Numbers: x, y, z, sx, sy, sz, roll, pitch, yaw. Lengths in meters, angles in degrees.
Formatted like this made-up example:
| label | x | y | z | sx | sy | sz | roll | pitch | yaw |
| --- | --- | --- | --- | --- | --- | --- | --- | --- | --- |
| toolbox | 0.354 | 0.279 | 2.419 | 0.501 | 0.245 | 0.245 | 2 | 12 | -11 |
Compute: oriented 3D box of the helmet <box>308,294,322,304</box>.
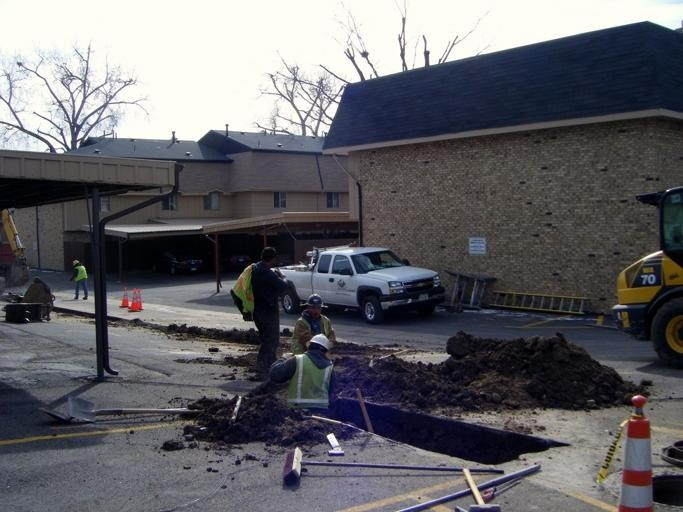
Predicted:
| label | x | y | z | sx | sy | sz | roll | pitch | yaw |
| --- | --- | --- | --- | --- | --- | --- | --- | --- | --- |
| helmet | -0.445 | 0.694 | 9.876 | 0.181 | 0.120 | 0.218 | 1 | 1 | -14 |

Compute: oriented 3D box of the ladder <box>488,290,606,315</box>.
| label | x | y | z | sx | sy | sz | roll | pitch | yaw |
| --- | --- | --- | --- | --- | --- | --- | --- | --- | --- |
| ladder | 6.199 | 1.471 | 19.297 | 3.328 | 0.635 | 0.549 | 5 | 10 | 42 |

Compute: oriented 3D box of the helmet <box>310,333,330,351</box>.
| label | x | y | z | sx | sy | sz | roll | pitch | yaw |
| --- | --- | --- | --- | --- | --- | --- | --- | --- | --- |
| helmet | -0.326 | 1.177 | 8.488 | 0.220 | 0.125 | 0.259 | 16 | 1 | -28 |

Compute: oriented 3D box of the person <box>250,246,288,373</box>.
| label | x | y | z | sx | sy | sz | roll | pitch | yaw |
| --- | --- | --- | --- | --- | --- | --- | --- | --- | --- |
| person | -1.387 | 0.945 | 10.870 | 0.657 | 2.069 | 0.734 | 3 | 7 | -22 |

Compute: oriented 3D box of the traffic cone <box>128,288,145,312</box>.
| label | x | y | z | sx | sy | sz | roll | pitch | yaw |
| --- | --- | --- | --- | --- | --- | --- | --- | --- | --- |
| traffic cone | -8.217 | 1.769 | 24.277 | 0.815 | 0.845 | 0.754 | -3 | 6 | -44 |

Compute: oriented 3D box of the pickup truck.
| label | x | y | z | sx | sy | sz | roll | pitch | yaw |
| --- | --- | --- | --- | --- | --- | --- | --- | --- | --- |
| pickup truck | 0.468 | 0.809 | 19.361 | 2.591 | 1.487 | 4.558 | -3 | 1 | -43 |
